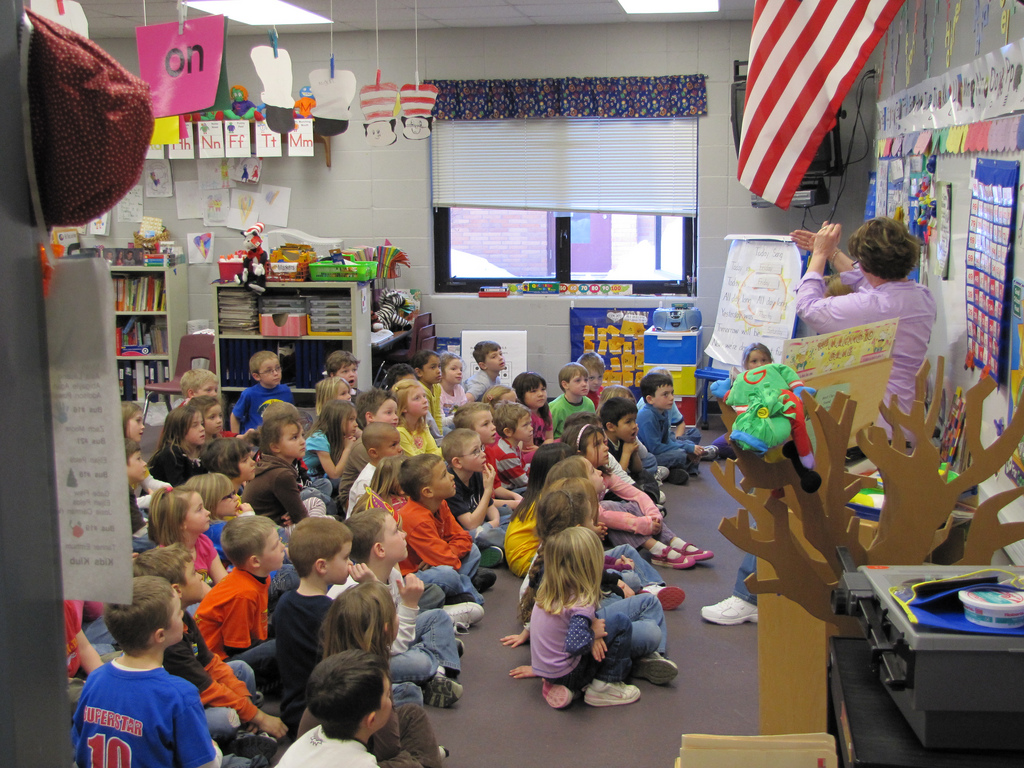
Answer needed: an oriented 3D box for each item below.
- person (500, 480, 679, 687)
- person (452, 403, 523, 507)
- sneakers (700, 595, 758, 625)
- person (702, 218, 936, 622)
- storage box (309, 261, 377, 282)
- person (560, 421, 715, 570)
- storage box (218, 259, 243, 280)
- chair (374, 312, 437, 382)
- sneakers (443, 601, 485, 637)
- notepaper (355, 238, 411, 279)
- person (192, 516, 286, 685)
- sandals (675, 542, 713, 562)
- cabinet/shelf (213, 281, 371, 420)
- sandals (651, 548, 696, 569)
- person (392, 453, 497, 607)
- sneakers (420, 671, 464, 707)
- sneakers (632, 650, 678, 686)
[{"bbox_3d":[0.338,0.788,3.546,0.720,0.841,0.589,-2,42,-11],"label":"person"},{"bbox_3d":[-0.162,0.359,5.172,0.479,0.791,0.441,-2,11,1],"label":"person"},{"bbox_3d":[0.959,1.009,3.942,0.231,0.126,0.102,1,0,0],"label":"sneakers"},{"bbox_3d":[1.270,0.107,3.659,0.716,1.551,0.549,4,5,26],"label":"person"},{"bbox_3d":[-1.399,-0.921,7.164,0.535,0.179,0.255,0,8,-14],"label":"storage box"},{"bbox_3d":[0.625,0.561,4.570,0.710,0.789,0.333,8,13,25],"label":"person"},{"bbox_3d":[-2.331,-0.939,7.194,0.187,0.139,0.136,-2,8,-10],"label":"storage box"},{"bbox_3d":[-0.971,-0.337,7.755,0.471,0.605,0.849,1,7,7],"label":"chair"},{"bbox_3d":[-0.222,1.006,3.803,0.098,0.089,0.247,-22,-12,7],"label":"sneakers"},{"bbox_3d":[-1.153,-1.132,7.951,0.312,0.250,0.432,6,11,26],"label":"notepaper"},{"bbox_3d":[-1.014,0.854,3.373,0.351,0.771,0.319,1,22,-17],"label":"person"},{"bbox_3d":[0.937,0.864,4.552,0.206,0.087,0.081,7,9,26],"label":"sandals"},{"bbox_3d":[-1.771,-0.440,7.515,1.388,1.500,0.804,0,3,4],"label":"cabinet/shelf"},{"bbox_3d":[0.807,0.894,4.504,0.160,0.074,0.100,0,8,14],"label":"sandals"},{"bbox_3d":[-0.339,0.619,4.236,0.533,0.837,0.595,0,4,-8],"label":"person"},{"bbox_3d":[-0.268,1.126,3.248,0.146,0.081,0.084,-5,11,-28],"label":"sneakers"},{"bbox_3d":[0.540,1.106,3.444,0.189,0.083,0.092,9,18,29],"label":"sneakers"}]
